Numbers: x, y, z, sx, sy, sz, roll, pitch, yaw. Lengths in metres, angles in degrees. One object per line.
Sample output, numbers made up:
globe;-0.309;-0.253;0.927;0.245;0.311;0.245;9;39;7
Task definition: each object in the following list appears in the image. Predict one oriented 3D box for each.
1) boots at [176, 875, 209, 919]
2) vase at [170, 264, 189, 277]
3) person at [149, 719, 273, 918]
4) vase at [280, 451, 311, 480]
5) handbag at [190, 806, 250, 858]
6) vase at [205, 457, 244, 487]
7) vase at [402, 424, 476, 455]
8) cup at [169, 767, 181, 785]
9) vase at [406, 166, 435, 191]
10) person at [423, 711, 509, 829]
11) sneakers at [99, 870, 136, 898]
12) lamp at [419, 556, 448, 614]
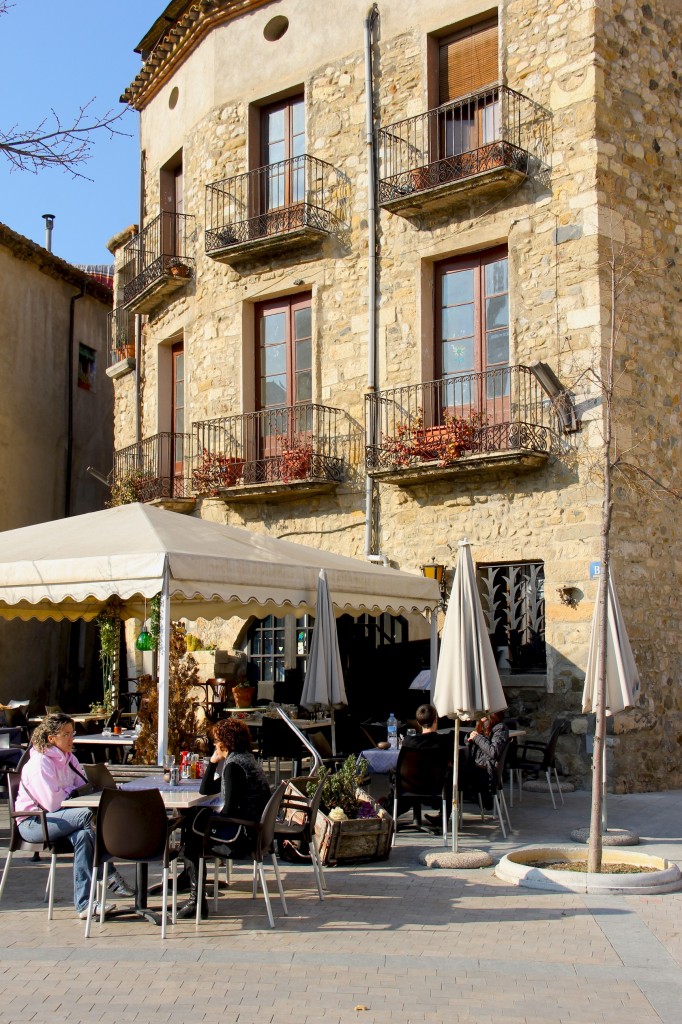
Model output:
boots;-0.813;2.123;6.540;0.104;0.264;0.249;9;-11;-31
vase;-2.366;-3.572;17.628;0.186;0.244;0.200;-4;23;-12
person;-0.645;1.708;6.678;0.492;1.099;0.403;3;-8;0
vase;-0.602;-0.592;15.151;0.533;0.444;0.215;-6;-9;42
handbag;-0.652;1.728;6.548;0.310;0.239;0.243;-1;-9;21
vase;-1.575;-0.555;16.072;0.391;0.271;0.407;-4;-8;32
vase;1.129;-0.834;13.632;0.373;0.262;0.568;3;-2;-44
cup;-0.990;1.580;7.164;0.078;0.101;0.084;0;-7;0
vase;0.949;-4.017;14.432;0.112;0.267;0.408;6;-9;-37
person;0.957;2.092;9.936;0.806;1.354;0.816;1;-8;5
sneakers;-1.333;2.227;7.178;0.253;0.198;0.092;1;0;11
lamp;1.097;0.849;13.507;0.401;0.962;0.495;-1;-1;7
